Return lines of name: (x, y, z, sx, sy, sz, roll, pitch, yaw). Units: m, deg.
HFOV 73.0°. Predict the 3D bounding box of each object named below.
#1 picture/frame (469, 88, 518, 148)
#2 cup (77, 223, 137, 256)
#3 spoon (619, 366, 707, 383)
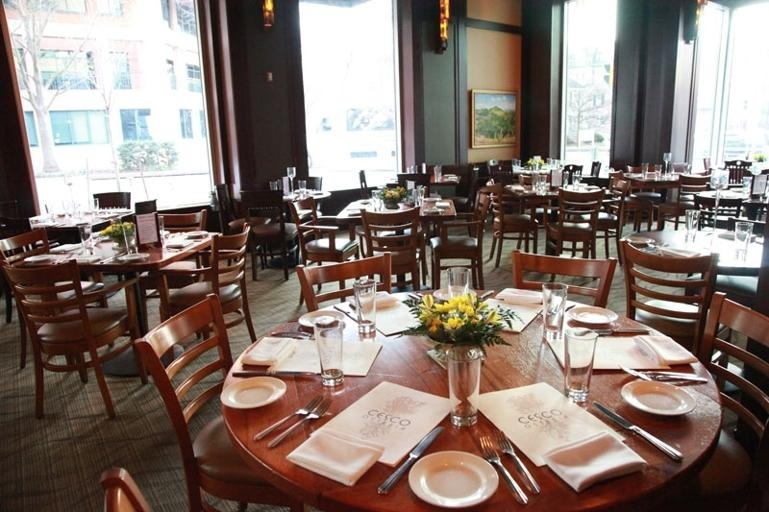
picture/frame: (2.148, -2.630, 10.108, 1.246, 1.115, 0.084, -10, 15, -30)
cup: (-2.277, -0.129, 4.262, 0.402, 0.183, 0.294, -3, 15, -15)
spoon: (1.263, 0.547, 2.387, 0.414, 0.037, 0.111, 1, 2, 4)
